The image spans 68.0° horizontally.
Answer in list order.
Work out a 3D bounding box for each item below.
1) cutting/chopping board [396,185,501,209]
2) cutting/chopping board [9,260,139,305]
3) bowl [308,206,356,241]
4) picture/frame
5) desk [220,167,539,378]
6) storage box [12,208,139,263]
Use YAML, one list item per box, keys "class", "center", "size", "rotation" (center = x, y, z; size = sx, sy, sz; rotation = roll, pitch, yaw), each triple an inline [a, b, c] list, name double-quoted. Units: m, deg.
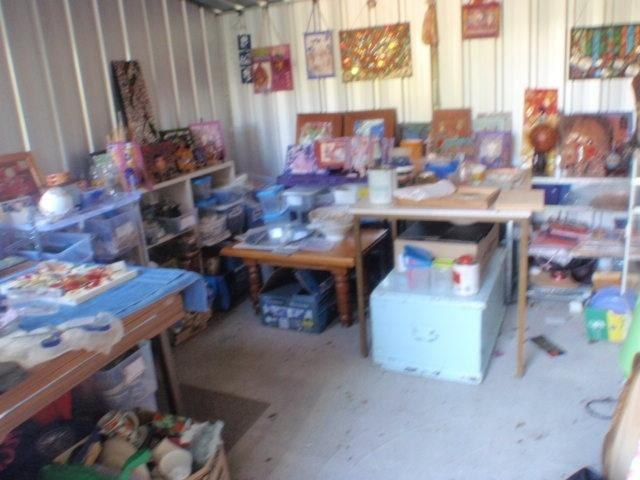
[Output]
- class: "cutting/chopping board"
  center: [0.855, -0.286, 3.135]
  size: [0.589, 0.061, 0.373]
  rotation: [4, 21, 26]
- class: "cutting/chopping board"
  center: [-1.260, 0.201, 2.374]
  size: [0.321, 0.035, 0.285]
  rotation: [10, 23, 19]
- class: "bowl"
  center: [0.094, -0.152, 4.029]
  size: [0.309, 0.105, 0.323]
  rotation: [-1, 26, 1]
- class: "picture/frame"
  center: [0.216, -1.071, 5.061]
  size: [1.166, 0.525, 0.978]
  rotation: [-1, 20, 12]
- class: "desk"
  center: [0.838, 0.201, 3.452]
  size: [1.346, 1.213, 0.724]
  rotation: [2, 21, 20]
- class: "storage box"
  center: [-1.458, -0.004, 2.930]
  size: [0.369, 0.219, 0.365]
  rotation: [3, 10, 20]
